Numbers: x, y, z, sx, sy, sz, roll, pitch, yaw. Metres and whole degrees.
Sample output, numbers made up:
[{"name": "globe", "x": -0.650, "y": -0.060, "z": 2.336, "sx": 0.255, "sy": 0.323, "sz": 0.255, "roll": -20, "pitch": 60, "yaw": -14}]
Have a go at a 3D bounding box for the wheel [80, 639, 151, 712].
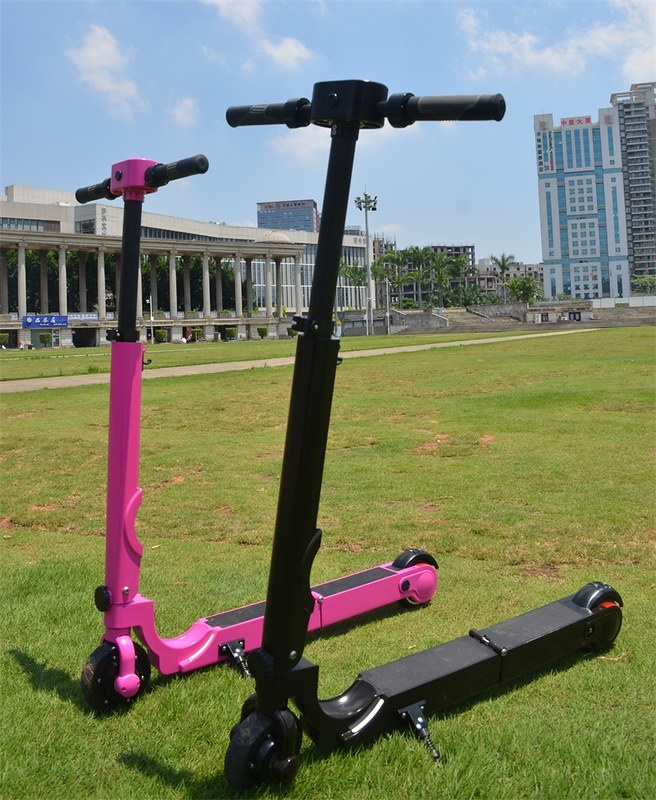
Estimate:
[{"name": "wheel", "x": -0.949, "y": 1.222, "z": 3.542, "sx": 0.164, "sy": 0.292, "sz": 0.291, "roll": -12, "pitch": 2, "yaw": 37}]
